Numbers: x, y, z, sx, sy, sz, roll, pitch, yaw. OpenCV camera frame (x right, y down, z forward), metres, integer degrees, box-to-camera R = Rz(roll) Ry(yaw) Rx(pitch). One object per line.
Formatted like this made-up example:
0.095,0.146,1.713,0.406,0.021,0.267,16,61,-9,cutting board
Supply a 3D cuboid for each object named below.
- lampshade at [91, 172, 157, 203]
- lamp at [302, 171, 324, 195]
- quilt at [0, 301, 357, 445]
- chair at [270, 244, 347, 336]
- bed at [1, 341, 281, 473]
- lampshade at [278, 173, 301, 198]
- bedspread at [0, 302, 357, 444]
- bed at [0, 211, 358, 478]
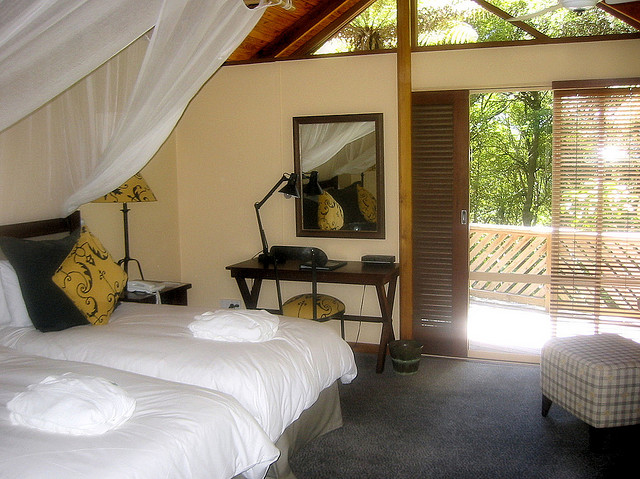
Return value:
-1.629,-0.424,4.086,0.350,0.250,0.455,1,8,10,lampshade
-0.058,-0.539,4.686,0.205,0.212,0.197,3,5,6,lamp
-0.873,0.649,2.861,1.558,0.395,0.924,2,5,18,quilt
-0.112,0.607,4.568,0.619,1.116,0.688,1,9,19,chair
-0.830,0.579,2.090,1.076,0.303,0.662,9,1,0,bed
-0.282,-0.504,4.675,0.182,0.238,0.323,0,8,9,lampshade
-0.898,0.662,2.872,1.585,0.398,0.933,2,6,19,bedspread
-0.989,0.565,3.274,2.106,1.279,1.300,1,5,15,bed
